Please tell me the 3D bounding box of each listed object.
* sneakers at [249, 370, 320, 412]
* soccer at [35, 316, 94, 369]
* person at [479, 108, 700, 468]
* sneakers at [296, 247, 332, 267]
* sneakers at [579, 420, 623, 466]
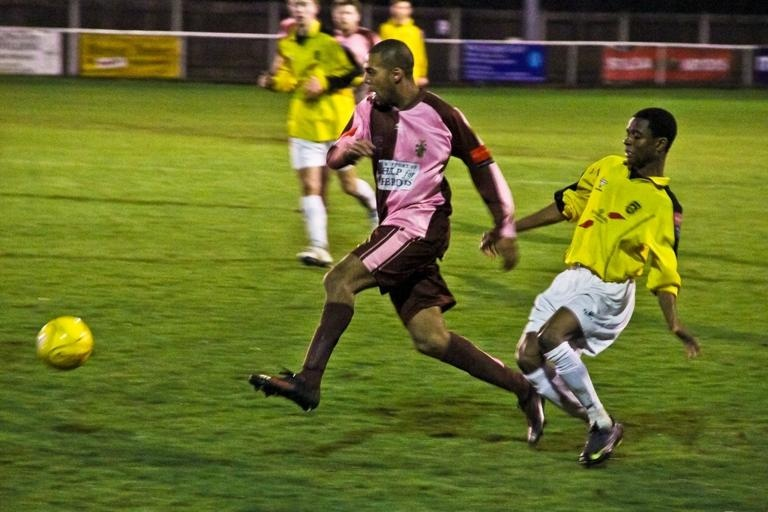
[{"bbox_3d":[-0.677,0.880,7.536,0.129,0.416,0.165,-48,24,7],"label":"sneakers"},{"bbox_3d":[-2.223,0.618,8.273,0.343,0.280,0.302,-17,49,18],"label":"soccer"},{"bbox_3d":[1.429,0.182,7.725,1.094,2.296,0.669,2,11,4],"label":"person"},{"bbox_3d":[-0.628,0.002,11.069,0.422,0.109,0.180,7,32,19],"label":"sneakers"},{"bbox_3d":[1.404,1.218,7.662,0.293,0.275,0.137,0,10,-8],"label":"sneakers"}]
